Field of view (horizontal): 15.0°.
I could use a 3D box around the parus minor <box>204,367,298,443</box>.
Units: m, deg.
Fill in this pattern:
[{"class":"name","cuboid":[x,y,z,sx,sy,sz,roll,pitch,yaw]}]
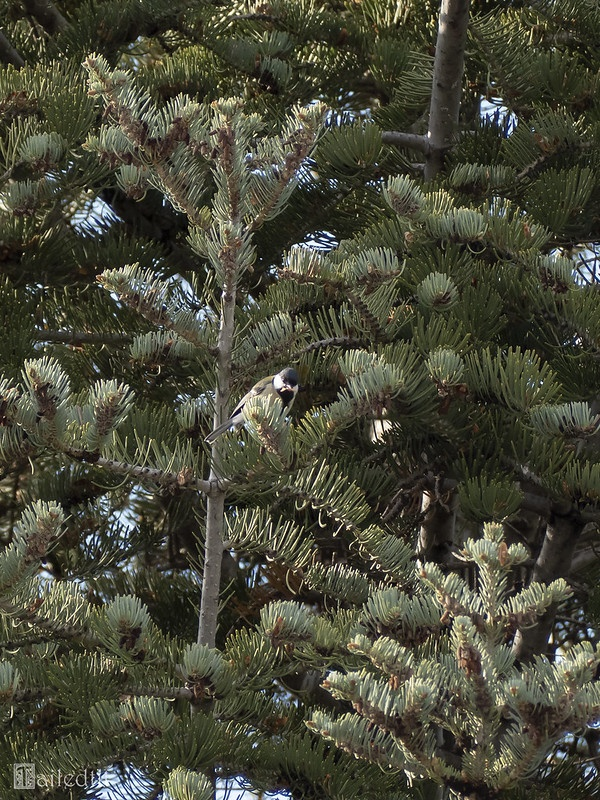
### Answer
[{"class":"parus minor","cuboid":[-0.148,0.024,7.278,0.311,0.160,0.119,-15,35,-15]}]
